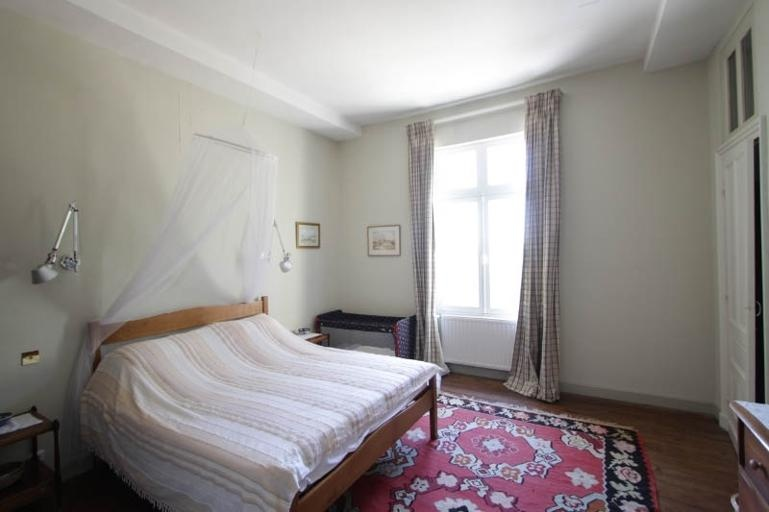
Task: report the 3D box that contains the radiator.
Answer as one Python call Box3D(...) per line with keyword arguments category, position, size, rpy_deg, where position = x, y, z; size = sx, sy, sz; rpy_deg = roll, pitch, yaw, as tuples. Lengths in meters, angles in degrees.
Box3D(category="radiator", position=(1.229, 1.120, 6.176), size=(0.709, 0.502, 0.075), rpy_deg=(3, 8, 24))

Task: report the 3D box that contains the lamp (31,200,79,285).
Box3D(category="lamp", position=(-2.974, -0.134, 4.384), size=(0.357, 0.745, 0.186), rpy_deg=(0, 1, -33))

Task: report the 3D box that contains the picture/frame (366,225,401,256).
Box3D(category="picture/frame", position=(-0.021, -0.212, 6.772), size=(0.457, 0.415, 0.016), rpy_deg=(-2, 4, -14))

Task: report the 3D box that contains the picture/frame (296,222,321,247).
Box3D(category="picture/frame", position=(-1.060, -0.298, 6.537), size=(0.012, 0.254, 0.351), rpy_deg=(2, 2, 32))

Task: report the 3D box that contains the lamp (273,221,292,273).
Box3D(category="lamp", position=(-1.281, -0.121, 6.102), size=(0.233, 0.670, 0.416), rpy_deg=(0, 1, -12))
